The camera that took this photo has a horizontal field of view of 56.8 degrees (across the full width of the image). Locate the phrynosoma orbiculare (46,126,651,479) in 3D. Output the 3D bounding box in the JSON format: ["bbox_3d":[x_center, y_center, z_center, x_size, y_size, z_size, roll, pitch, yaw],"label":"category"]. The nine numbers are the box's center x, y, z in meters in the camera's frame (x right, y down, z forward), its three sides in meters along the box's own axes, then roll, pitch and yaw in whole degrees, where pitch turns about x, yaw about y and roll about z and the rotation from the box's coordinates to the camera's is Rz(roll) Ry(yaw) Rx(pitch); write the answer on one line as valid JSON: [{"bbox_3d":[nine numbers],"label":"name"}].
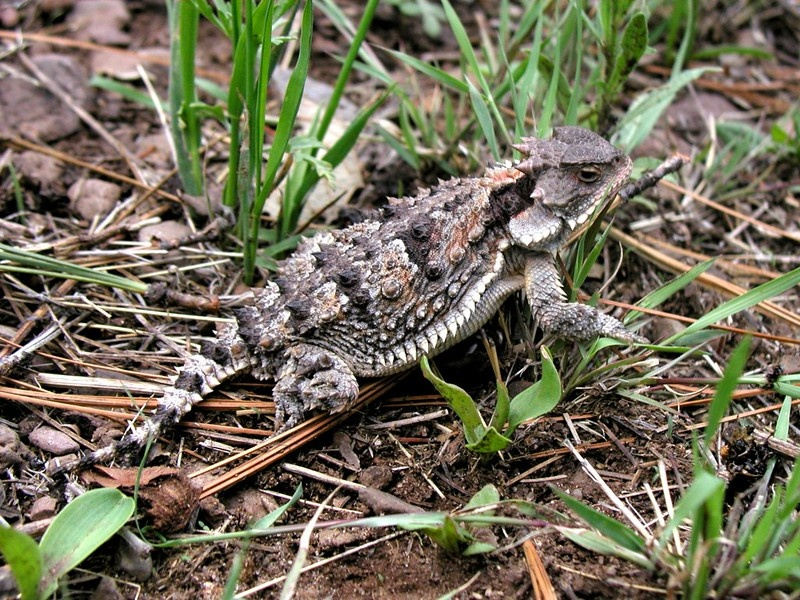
[{"bbox_3d":[-0.013,-0.088,3.859,2.668,0.577,1.042,-17,74,-6],"label":"phrynosoma orbiculare"}]
